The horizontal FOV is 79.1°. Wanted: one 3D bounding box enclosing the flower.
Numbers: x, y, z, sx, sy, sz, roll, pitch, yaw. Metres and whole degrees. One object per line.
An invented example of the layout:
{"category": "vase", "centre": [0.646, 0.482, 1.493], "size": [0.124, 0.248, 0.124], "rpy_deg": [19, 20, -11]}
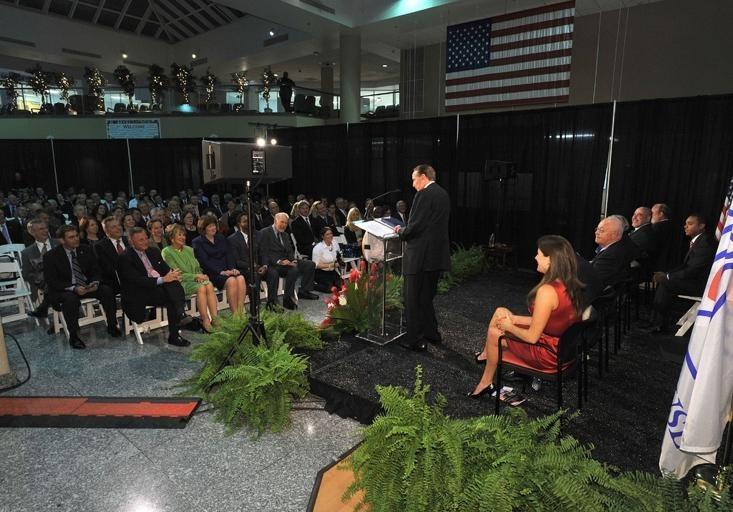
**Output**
{"category": "flower", "centre": [0.037, 0.548, 6.304], "size": [0.845, 0.898, 1.607], "rpy_deg": [6, 15, 28]}

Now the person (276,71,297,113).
{"category": "person", "centre": [-2.808, -5.625, 15.539], "size": [0.553, 1.185, 0.458], "rpy_deg": [5, 16, 27]}

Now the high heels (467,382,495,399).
{"category": "high heels", "centre": [1.244, 1.425, 4.695], "size": [0.349, 0.144, 0.118], "rpy_deg": [2, -6, -20]}

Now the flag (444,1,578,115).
{"category": "flag", "centre": [3.764, -5.181, 11.531], "size": [3.975, 2.848, 0.136], "rpy_deg": [1, 2, 35]}

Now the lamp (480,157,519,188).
{"category": "lamp", "centre": [2.916, -1.943, 9.703], "size": [0.904, 0.613, 0.479], "rpy_deg": [-1, 17, -11]}

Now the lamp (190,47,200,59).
{"category": "lamp", "centre": [-9.080, -10.602, 23.254], "size": [0.353, 0.567, 0.595], "rpy_deg": [5, -1, -4]}

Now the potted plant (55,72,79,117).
{"category": "potted plant", "centre": [-10.904, -5.856, 16.038], "size": [0.526, 1.479, 0.832], "rpy_deg": [-11, 16, -31]}

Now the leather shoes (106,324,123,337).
{"category": "leather shoes", "centre": [-3.715, 1.088, 6.449], "size": [0.276, 0.161, 0.135], "rpy_deg": [2, 14, 14]}

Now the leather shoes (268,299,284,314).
{"category": "leather shoes", "centre": [-1.386, 0.764, 6.694], "size": [0.115, 0.149, 0.374], "rpy_deg": [-9, -4, -25]}

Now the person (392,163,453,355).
{"category": "person", "centre": [0.701, 0.047, 5.508], "size": [0.713, 2.278, 0.423], "rpy_deg": [-11, 17, -34]}

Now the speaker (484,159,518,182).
{"category": "speaker", "centre": [2.917, -1.763, 9.601], "size": [0.770, 0.522, 0.417], "rpy_deg": [-1, 20, -7]}

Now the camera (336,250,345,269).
{"category": "camera", "centre": [-0.511, 0.069, 8.527], "size": [0.111, 0.110, 0.320], "rpy_deg": [8, 40, -14]}

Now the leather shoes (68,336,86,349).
{"category": "leather shoes", "centre": [-3.999, 1.184, 6.090], "size": [0.279, 0.142, 0.163], "rpy_deg": [10, 18, 42]}

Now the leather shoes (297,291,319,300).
{"category": "leather shoes", "centre": [-1.085, 0.736, 8.206], "size": [0.428, 0.180, 0.144], "rpy_deg": [0, 0, 10]}

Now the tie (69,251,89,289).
{"category": "tie", "centre": [-4.200, 0.180, 6.357], "size": [0.171, 0.494, 0.237], "rpy_deg": [7, 17, 33]}

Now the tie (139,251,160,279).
{"category": "tie", "centre": [-3.160, 0.112, 6.365], "size": [0.114, 0.382, 0.280], "rpy_deg": [-20, -20, 11]}

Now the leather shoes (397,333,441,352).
{"category": "leather shoes", "centre": [0.610, 1.109, 5.703], "size": [0.251, 0.115, 0.327], "rpy_deg": [-7, 7, -37]}

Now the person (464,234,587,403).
{"category": "person", "centre": [1.647, 0.689, 4.622], "size": [1.226, 1.830, 0.742], "rpy_deg": [9, 18, 34]}
